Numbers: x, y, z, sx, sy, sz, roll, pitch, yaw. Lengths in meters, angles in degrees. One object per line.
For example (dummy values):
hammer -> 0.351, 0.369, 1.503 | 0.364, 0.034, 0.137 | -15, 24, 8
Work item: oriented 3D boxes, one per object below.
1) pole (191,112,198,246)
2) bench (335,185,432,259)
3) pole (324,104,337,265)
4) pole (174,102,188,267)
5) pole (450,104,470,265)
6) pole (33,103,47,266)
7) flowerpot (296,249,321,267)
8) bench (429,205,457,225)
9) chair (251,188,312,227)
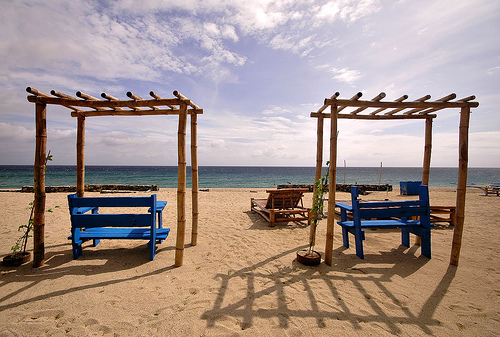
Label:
pole -> -1.489, 0.282, 8.989 | 0.188, 3.562, 0.552 | 1, 3, -9
bench -> 3.598, 1.406, 9.141 | 2.472, 1.552, 1.532 | 0, -2, -3
pole -> 1.959, 0.384, 8.173 | 0.208, 3.933, 0.650 | 2, 3, 13
pole -> -1.689, 0.374, 8.197 | 0.247, 3.955, 0.376 | 1, 3, -10
pole -> 5.223, 0.396, 8.398 | 0.257, 3.957, 0.441 | 3, 3, 31
pole -> -4.996, 0.360, 7.999 | 0.267, 3.862, 0.477 | 0, 3, -32
flowerpot -> 1.463, 2.229, 8.408 | 0.596, 0.291, 0.433 | 1, 1, 12
bench -> 6.463, 1.526, 11.369 | 0.689, 0.575, 0.832 | 2, 2, 26
chair -> 1.065, 1.232, 11.539 | 1.917, 1.181, 2.064 | 1, 1, 2
